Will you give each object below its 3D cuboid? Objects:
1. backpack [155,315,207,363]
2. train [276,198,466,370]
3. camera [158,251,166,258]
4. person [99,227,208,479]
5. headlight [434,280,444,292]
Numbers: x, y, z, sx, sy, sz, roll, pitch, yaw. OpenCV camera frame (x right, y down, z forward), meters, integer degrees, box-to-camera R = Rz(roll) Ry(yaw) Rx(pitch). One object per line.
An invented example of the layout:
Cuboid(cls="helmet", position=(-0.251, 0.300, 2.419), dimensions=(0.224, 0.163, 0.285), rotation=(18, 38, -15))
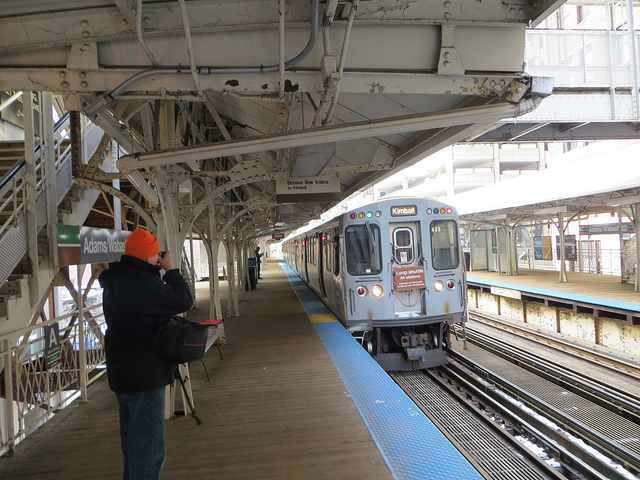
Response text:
Cuboid(cls="backpack", position=(-1.455, 1.029, 4.878), dimensions=(0.534, 0.625, 0.410), rotation=(-11, -20, 33))
Cuboid(cls="train", position=(0.962, 0.807, 10.571), dimensions=(2.201, 3.476, 4.177), rotation=(-2, 6, -35))
Cuboid(cls="camera", position=(-1.662, 0.167, 4.944), dimensions=(0.039, 0.051, 0.048), rotation=(-3, -1, 13))
Cuboid(cls="person", position=(-1.697, 1.205, 4.734), dimensions=(0.979, 2.635, 0.632), rotation=(-1, 5, -22))
Cuboid(cls="headlight", position=(2.400, 0.939, 9.406), dimensions=(0.212, 0.222, 0.051), rotation=(-1, 5, -23))
